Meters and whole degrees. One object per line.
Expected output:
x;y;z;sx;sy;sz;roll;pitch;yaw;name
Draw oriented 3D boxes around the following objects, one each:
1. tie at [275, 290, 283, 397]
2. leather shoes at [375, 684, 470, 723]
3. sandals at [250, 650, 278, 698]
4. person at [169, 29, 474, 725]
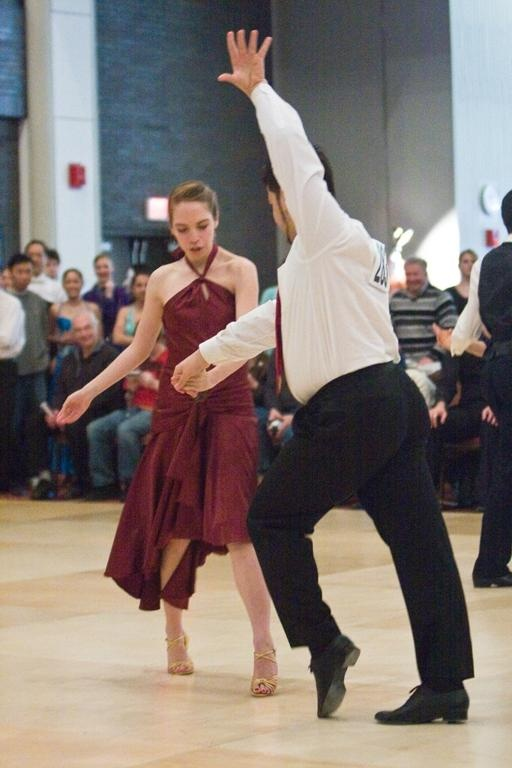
0.033;-0.074;1.915;0.005;0.151;0.038;-3;-5;21;tie
0.276;0.531;1.961;0.168;0.065;0.058;-1;-13;5;leather shoes
0.013;0.543;2.208;0.042;0.046;0.122;-2;-13;3;sandals
0.143;-0.005;1.901;0.379;1.120;0.142;-2;4;-2;person
